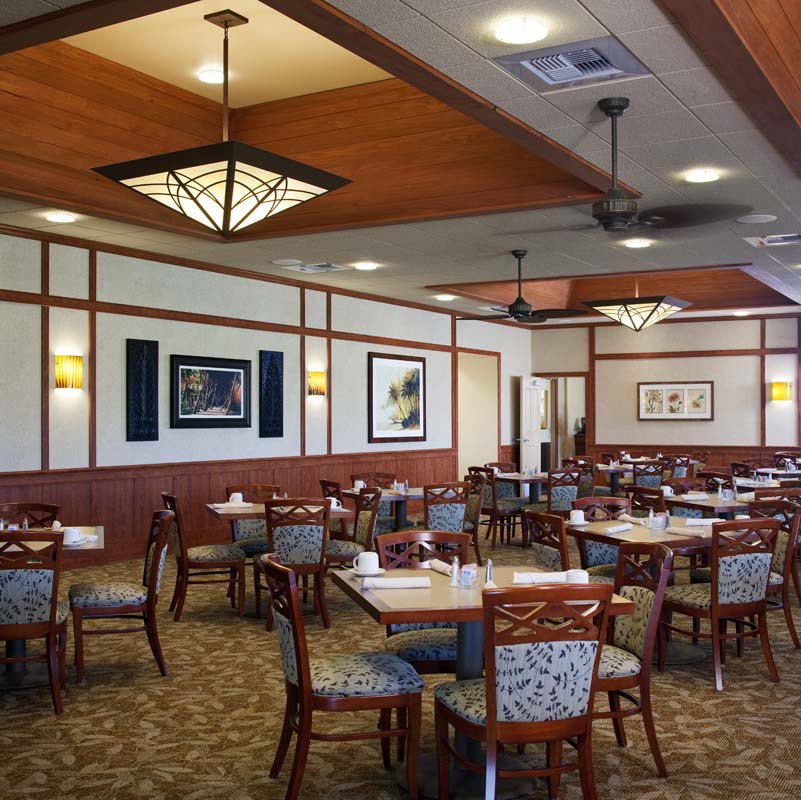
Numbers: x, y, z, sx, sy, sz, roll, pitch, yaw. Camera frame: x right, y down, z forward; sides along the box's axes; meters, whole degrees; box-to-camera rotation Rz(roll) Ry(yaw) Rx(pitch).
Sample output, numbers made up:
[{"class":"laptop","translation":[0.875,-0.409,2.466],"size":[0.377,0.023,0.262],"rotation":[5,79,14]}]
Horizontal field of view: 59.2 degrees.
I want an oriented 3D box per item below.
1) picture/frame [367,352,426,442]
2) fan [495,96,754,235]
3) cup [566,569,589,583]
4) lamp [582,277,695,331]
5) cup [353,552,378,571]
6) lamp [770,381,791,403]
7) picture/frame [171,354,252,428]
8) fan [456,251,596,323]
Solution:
[{"class":"picture/frame","translation":[-0.102,-0.054,11.709],"size":[0.063,1.533,1.823],"rotation":[-3,-3,39]},{"class":"fan","translation":[1.533,-1.635,4.881],"size":[1.232,0.505,1.086],"rotation":[0,-9,2]},{"class":"cup","translation":[0.716,0.709,2.845],"size":[0.091,0.054,0.083],"rotation":[0,0,0]},{"class":"lamp","translation":[3.182,-1.209,9.523],"size":[0.965,0.456,1.128],"rotation":[-3,-4,42]},{"class":"cup","translation":[-0.150,0.715,3.136],"size":[0.125,0.070,0.075],"rotation":[0,-3,-7]},{"class":"lamp","translation":[7.331,-0.192,13.881],"size":[0.442,0.393,0.392],"rotation":[0,1,0]},{"class":"picture/frame","translation":[-2.343,-0.113,8.599],"size":[1.121,0.769,0.083],"rotation":[1,-3,-44]},{"class":"fan","translation":[1.605,-1.451,8.796],"size":[1.250,0.723,1.285],"rotation":[-8,13,-35]}]
